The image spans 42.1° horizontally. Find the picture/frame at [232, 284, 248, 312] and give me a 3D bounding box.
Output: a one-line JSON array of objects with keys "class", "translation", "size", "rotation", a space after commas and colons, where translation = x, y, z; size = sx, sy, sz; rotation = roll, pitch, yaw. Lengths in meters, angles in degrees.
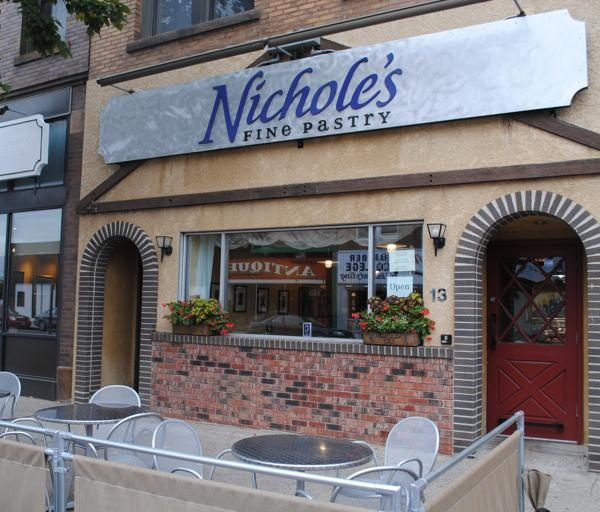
[{"class": "picture/frame", "translation": [-0.896, 0.646, 11.542], "size": [0.240, 0.409, 0.025], "rotation": [-4, -10, 33]}]

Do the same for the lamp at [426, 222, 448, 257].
[{"class": "lamp", "translation": [1.740, -0.208, 9.976], "size": [0.255, 0.401, 0.246], "rotation": [-1, -9, 18]}]

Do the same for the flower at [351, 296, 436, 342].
[{"class": "flower", "translation": [1.252, 0.795, 10.102], "size": [0.831, 0.517, 0.609], "rotation": [-2, -3, 32]}]

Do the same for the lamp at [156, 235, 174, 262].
[{"class": "lamp", "translation": [-2.113, -0.113, 11.941], "size": [0.272, 0.374, 0.264], "rotation": [-1, -9, 19]}]

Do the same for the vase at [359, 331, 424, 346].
[{"class": "vase", "translation": [1.189, 1.095, 10.092], "size": [0.756, 0.174, 0.159], "rotation": [-2, -9, 18]}]

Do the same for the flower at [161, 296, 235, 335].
[{"class": "flower", "translation": [-1.545, 0.895, 11.639], "size": [1.090, 0.610, 0.403], "rotation": [-3, -10, 29]}]

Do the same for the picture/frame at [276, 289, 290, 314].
[{"class": "picture/frame", "translation": [-0.242, 0.672, 11.198], "size": [0.193, 0.372, 0.039], "rotation": [-5, -11, 37]}]

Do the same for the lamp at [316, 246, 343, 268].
[{"class": "lamp", "translation": [0.413, -0.003, 10.972], "size": [0.345, 0.359, 0.271], "rotation": [1, 1, 38]}]

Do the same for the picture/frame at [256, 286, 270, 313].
[{"class": "picture/frame", "translation": [-0.550, 0.665, 11.359], "size": [0.222, 0.377, 0.035], "rotation": [-4, -10, 34]}]
